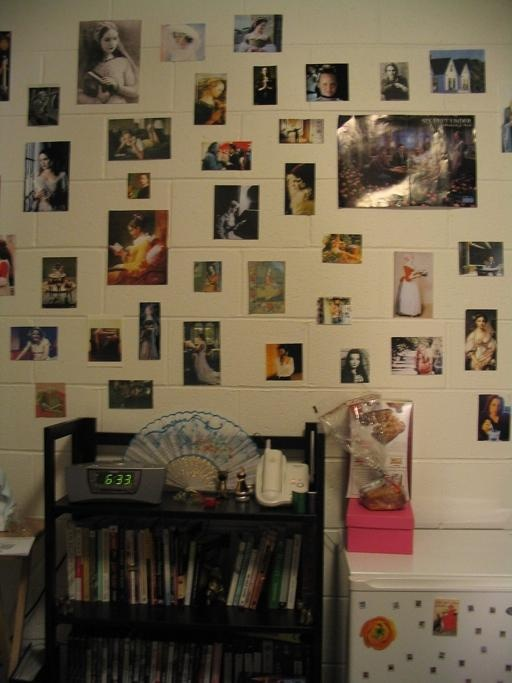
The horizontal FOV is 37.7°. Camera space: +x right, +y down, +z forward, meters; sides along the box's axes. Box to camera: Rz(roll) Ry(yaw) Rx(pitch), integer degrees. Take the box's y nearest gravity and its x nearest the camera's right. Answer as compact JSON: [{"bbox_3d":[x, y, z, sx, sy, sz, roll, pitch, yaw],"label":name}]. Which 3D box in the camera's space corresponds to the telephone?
[{"bbox_3d":[0.078,0.429,2.383,0.138,0.189,0.063,1,-36,0],"label":"telephone"}]

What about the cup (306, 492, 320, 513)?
[{"bbox_3d":[0.171,0.497,2.315,0.032,0.050,0.080,2,4,7],"label":"cup"}]

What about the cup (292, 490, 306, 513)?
[{"bbox_3d":[0.133,0.492,2.284,0.053,0.072,0.051,-1,-7,0],"label":"cup"}]

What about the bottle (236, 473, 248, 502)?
[{"bbox_3d":[-0.041,0.462,2.400,0.044,0.083,0.084,2,4,1],"label":"bottle"}]
